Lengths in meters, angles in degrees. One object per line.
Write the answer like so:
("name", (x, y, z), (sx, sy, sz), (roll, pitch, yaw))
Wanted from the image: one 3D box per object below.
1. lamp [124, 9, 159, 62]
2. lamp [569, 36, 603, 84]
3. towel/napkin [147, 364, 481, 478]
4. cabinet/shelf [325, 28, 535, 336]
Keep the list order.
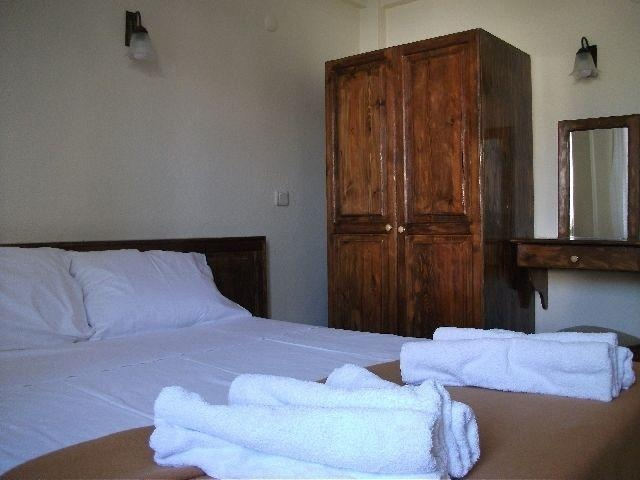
("lamp", (-1.011, -1.162, 2.869), (0.136, 0.266, 0.114), (-6, 3, -16))
("lamp", (1.654, -1.148, 3.204), (0.152, 0.271, 0.186), (0, 3, 29))
("towel/napkin", (-0.020, 0.390, 1.056), (0.350, 0.124, 0.366), (-1, -4, 32))
("cabinet/shelf", (0.681, -0.220, 3.575), (1.075, 2.152, 0.762), (7, 19, 35))
